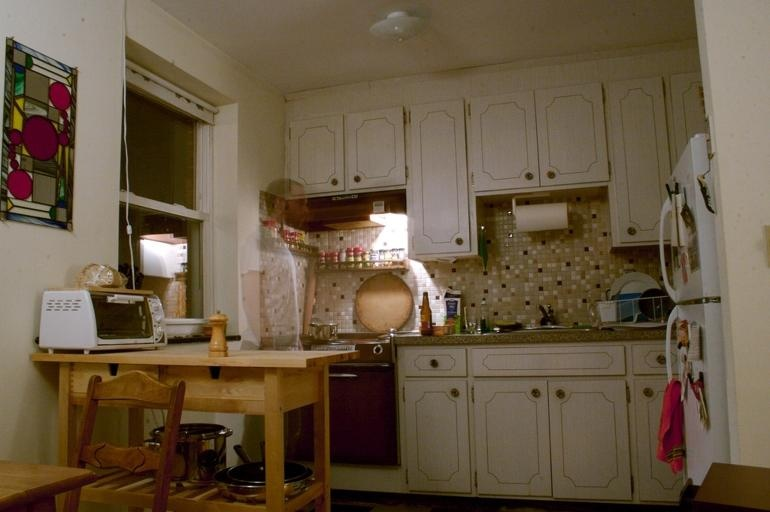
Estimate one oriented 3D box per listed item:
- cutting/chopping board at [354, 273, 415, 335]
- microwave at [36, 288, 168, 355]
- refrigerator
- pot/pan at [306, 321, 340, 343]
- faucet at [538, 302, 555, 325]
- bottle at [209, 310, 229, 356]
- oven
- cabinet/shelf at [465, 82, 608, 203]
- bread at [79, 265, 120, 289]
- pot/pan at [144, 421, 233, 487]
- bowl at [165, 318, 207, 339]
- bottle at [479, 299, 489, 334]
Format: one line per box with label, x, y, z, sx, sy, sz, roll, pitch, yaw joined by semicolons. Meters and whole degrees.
cutting/chopping board;-0.005;0.338;5.039;0.456;0.445;0.059;-4;-8;17
microwave;-1.438;0.328;3.374;0.333;0.310;0.455;-10;-12;20
refrigerator;1.486;0.267;3.227;0.177;1.650;0.543;-3;-8;9
pot/pan;-0.469;0.570;4.964;0.146;0.106;0.153;1;5;5
faucet;1.162;0.416;4.715;0.063;0.189;0.077;3;-16;0
bottle;-0.786;0.369;3.155;0.087;0.207;0.185;0;-8;-15
oven;-0.212;1.132;4.587;0.741;0.746;0.512;-7;-23;23
cabinet/shelf;1.151;-0.595;4.900;1.119;0.888;0.663;-4;-3;14
bread;-1.444;0.104;3.370;0.133;0.060;0.137;1;-1;17
pot/pan;-0.897;0.932;3.273;0.344;0.198;0.308;1;-6;-4
bowl;-1.247;0.446;4.254;0.137;0.117;0.340;-5;-8;20
bottle;0.721;0.423;4.806;0.061;0.238;0.129;-3;-8;9
